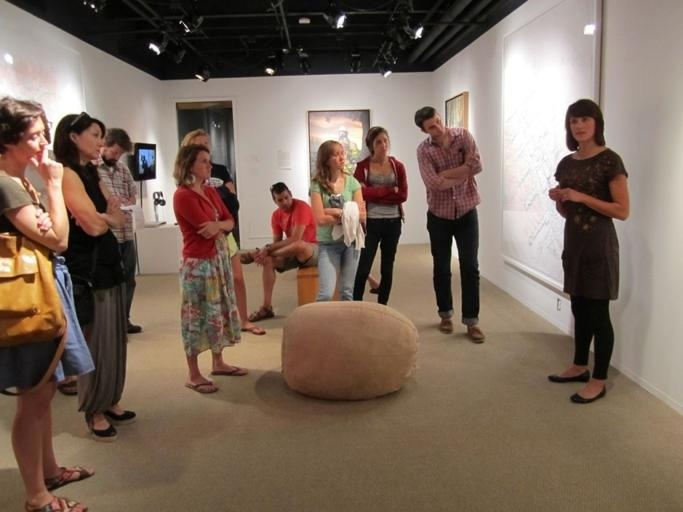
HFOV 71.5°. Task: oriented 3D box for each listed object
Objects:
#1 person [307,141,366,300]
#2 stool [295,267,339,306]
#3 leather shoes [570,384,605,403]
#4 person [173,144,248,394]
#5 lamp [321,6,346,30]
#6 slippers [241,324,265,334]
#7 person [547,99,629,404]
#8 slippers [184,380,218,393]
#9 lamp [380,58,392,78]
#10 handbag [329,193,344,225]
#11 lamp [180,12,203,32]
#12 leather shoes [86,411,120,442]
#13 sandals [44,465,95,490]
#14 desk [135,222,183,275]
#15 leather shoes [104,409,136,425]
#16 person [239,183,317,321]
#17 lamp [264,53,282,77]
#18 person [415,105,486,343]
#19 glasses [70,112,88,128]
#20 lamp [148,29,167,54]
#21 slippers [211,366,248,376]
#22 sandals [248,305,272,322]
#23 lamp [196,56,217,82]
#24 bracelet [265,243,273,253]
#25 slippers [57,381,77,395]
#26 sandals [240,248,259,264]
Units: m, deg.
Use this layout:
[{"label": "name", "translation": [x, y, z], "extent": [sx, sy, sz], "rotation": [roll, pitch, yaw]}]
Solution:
[{"label": "person", "translation": [-0.017, -0.252, 4.095], "extent": [0.496, 1.449, 0.461], "rotation": [-5, 12, -17]}, {"label": "stool", "translation": [-0.293, 0.332, 4.899], "extent": [0.184, 0.281, 0.276], "rotation": [-17, 5, -11]}, {"label": "leather shoes", "translation": [1.741, 0.978, 3.363], "extent": [0.265, 0.118, 0.101], "rotation": [-5, 2, -13]}, {"label": "person", "translation": [-1.009, 0.101, 3.599], "extent": [0.444, 1.835, 0.385], "rotation": [-6, 12, -19]}, {"label": "lamp", "translation": [-0.088, -3.065, 6.018], "extent": [0.243, 0.296, 0.360], "rotation": [-2, 13, -3]}, {"label": "slippers", "translation": [-0.892, 0.737, 4.853], "extent": [0.247, 0.077, 0.101], "rotation": [4, 10, 33]}, {"label": "person", "translation": [1.728, -0.060, 3.390], "extent": [0.455, 2.046, 0.589], "rotation": [-5, 12, -15]}, {"label": "slippers", "translation": [-1.061, 0.970, 3.623], "extent": [0.195, 0.059, 0.102], "rotation": [0, 3, 22]}, {"label": "lamp", "translation": [0.833, -3.509, 8.800], "extent": [0.227, 0.383, 0.224], "rotation": [-8, -25, 9]}, {"label": "handbag", "translation": [-0.027, -0.405, 3.932], "extent": [0.068, 0.210, 0.152], "rotation": [5, 4, 8]}, {"label": "lamp", "translation": [-1.995, -3.130, 6.338], "extent": [0.238, 0.223, 0.510], "rotation": [-7, 14, -21]}, {"label": "leather shoes", "translation": [-1.535, 1.096, 3.078], "extent": [0.277, 0.103, 0.103], "rotation": [6, 4, 45]}, {"label": "sandals", "translation": [-1.522, 1.219, 2.668], "extent": [0.181, 0.073, 0.087], "rotation": [-5, 9, -37]}, {"label": "desk", "translation": [-3.008, -0.210, 8.166], "extent": [0.913, 0.756, 0.919], "rotation": [-6, 17, -24]}, {"label": "leather shoes", "translation": [-1.503, 1.103, 3.259], "extent": [0.147, 0.059, 0.088], "rotation": [1, 1, -3]}, {"label": "person", "translation": [-0.621, -0.066, 5.136], "extent": [0.799, 1.472, 0.734], "rotation": [0, -1, -26]}, {"label": "lamp", "translation": [-1.202, -3.464, 8.450], "extent": [0.218, 0.310, 0.651], "rotation": [-5, 14, -15]}, {"label": "person", "translation": [1.026, -0.295, 4.447], "extent": [0.665, 2.134, 0.388], "rotation": [2, 12, 18]}, {"label": "glasses", "translation": [-1.565, -0.819, 2.839], "extent": [0.091, 0.028, 0.091], "rotation": [-40, 25, -10]}, {"label": "lamp", "translation": [-2.700, -3.213, 7.120], "extent": [0.260, 0.245, 0.409], "rotation": [-6, 14, -20]}, {"label": "slippers", "translation": [-0.897, 0.942, 3.850], "extent": [0.226, 0.070, 0.110], "rotation": [-5, -1, -2]}, {"label": "sandals", "translation": [-0.868, 0.641, 5.233], "extent": [0.305, 0.145, 0.105], "rotation": [1, -2, -33]}, {"label": "lamp", "translation": [-2.634, -3.694, 9.303], "extent": [0.384, 0.354, 0.686], "rotation": [6, 3, -17]}, {"label": "bracelet", "translation": [-0.764, -0.089, 5.064], "extent": [0.082, 0.090, 0.057], "rotation": [6, 22, 2]}, {"label": "slippers", "translation": [-2.105, 1.023, 3.661], "extent": [0.089, 0.111, 0.120], "rotation": [3, -23, -22]}, {"label": "sandals", "translation": [-1.114, -0.002, 5.818], "extent": [0.126, 0.115, 0.237], "rotation": [7, 14, 12]}]
